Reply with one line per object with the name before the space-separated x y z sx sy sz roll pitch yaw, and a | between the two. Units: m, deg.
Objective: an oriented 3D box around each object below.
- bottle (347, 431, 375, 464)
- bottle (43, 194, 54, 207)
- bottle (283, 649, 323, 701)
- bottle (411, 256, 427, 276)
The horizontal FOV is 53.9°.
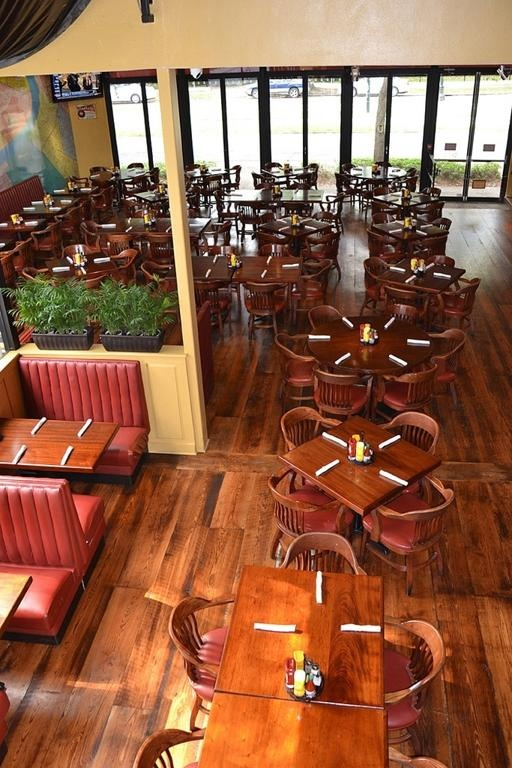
bottle | 0.644 0.399 3.158 0.159 0.178 0.159 -3 42 9
bottle | -4.336 -3.849 10.497 0.181 0.238 0.563 -7 38 -14
bottle | 0.165 1.020 1.793 0.115 0.063 0.159 -1 29 0
bottle | 2.056 -1.495 6.429 0.143 0.265 0.110 2 6 29
